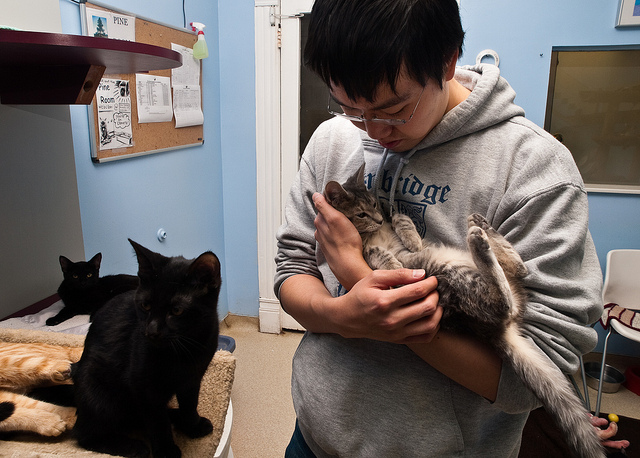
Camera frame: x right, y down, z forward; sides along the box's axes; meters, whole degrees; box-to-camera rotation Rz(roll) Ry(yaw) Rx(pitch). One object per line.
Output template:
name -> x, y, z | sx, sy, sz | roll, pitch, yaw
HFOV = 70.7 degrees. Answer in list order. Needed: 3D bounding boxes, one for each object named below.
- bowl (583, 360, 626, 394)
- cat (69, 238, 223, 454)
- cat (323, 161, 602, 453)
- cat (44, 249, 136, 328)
bowl -> 2.093, 1.098, 3.359 | 0.286, 0.111, 0.273 | 2, 15, -1
cat -> -0.477, 0.325, 1.246 | 0.389, 0.578, 0.255 | -1, 13, 7
cat -> 0.342, 0.166, 1.224 | 0.767, 0.672, 0.221 | 10, 18, 44
cat -> -0.985, 0.235, 1.949 | 0.174, 0.286, 0.495 | 4, 1, -3
